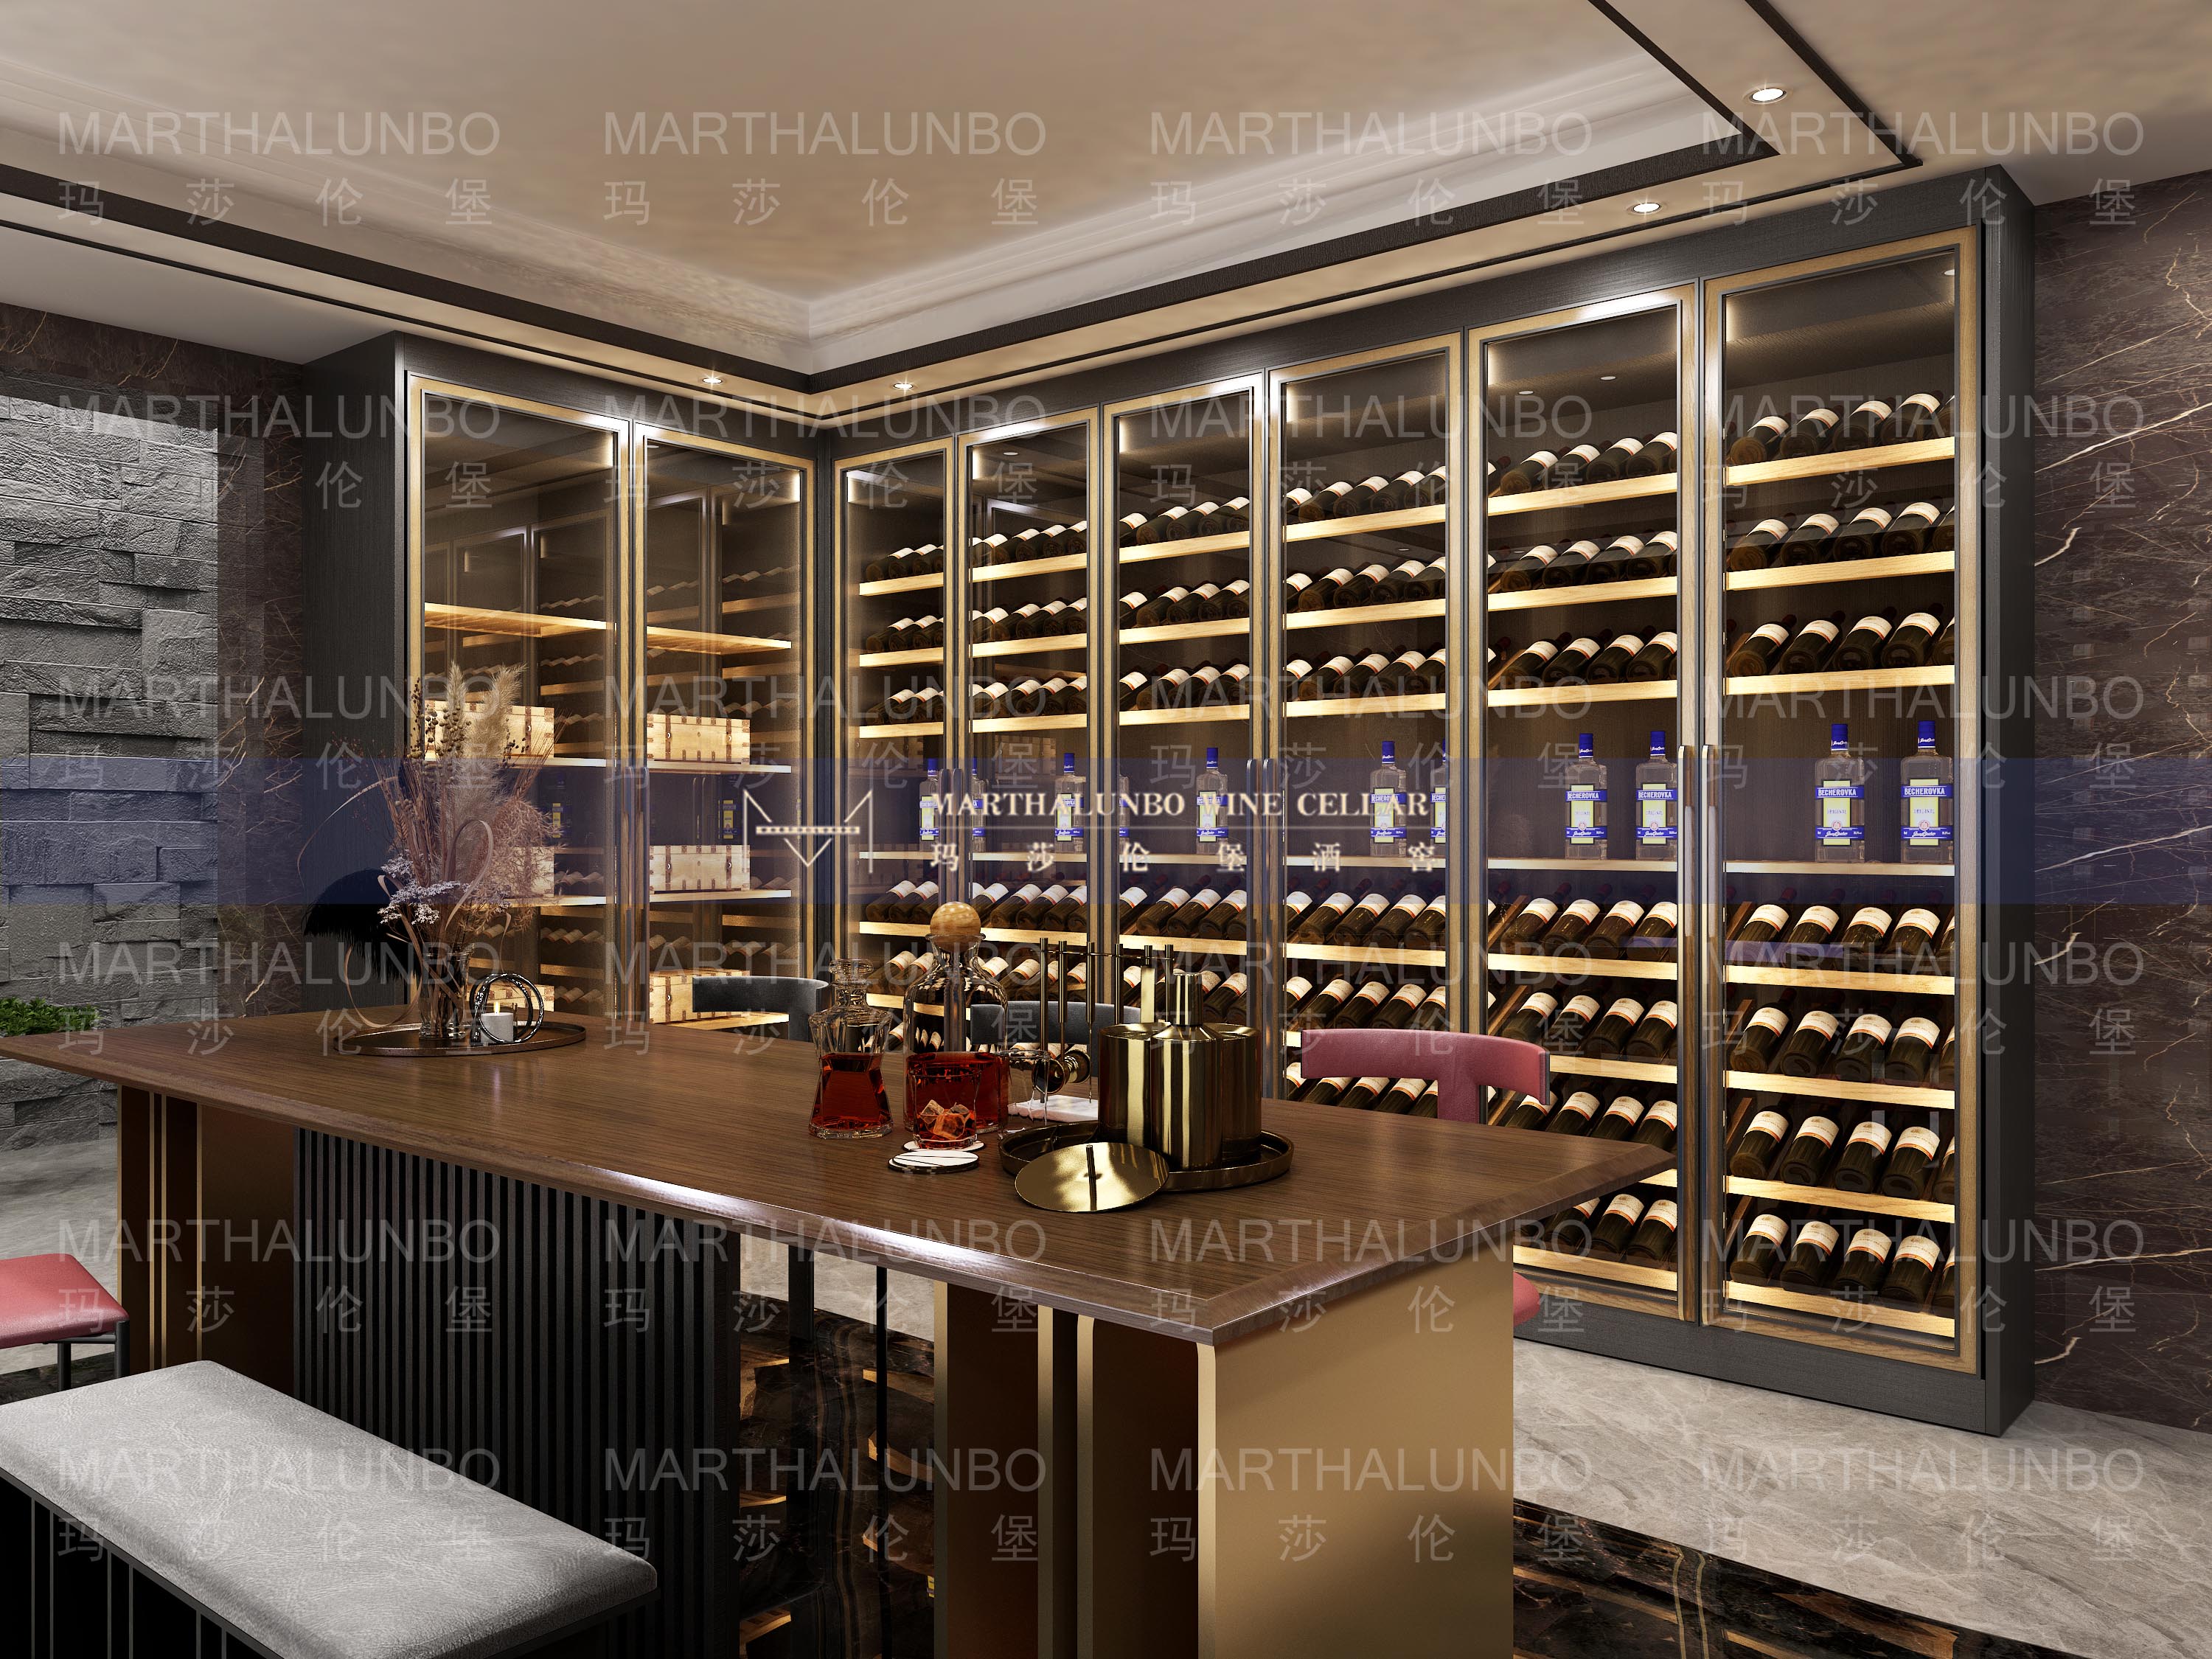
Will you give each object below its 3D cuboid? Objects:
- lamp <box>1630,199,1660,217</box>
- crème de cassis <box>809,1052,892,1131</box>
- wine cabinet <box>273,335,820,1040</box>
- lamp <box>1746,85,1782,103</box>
[{"bbox_3d":[1.434,-1.636,4.493,0.073,0.019,0.066,2,8,10],"label":"lamp"},{"bbox_3d":[-0.441,0.452,2.998,0.150,0.133,0.168,-5,-6,42],"label":"crème de cassis"},{"bbox_3d":[-1.821,-0.436,6.122,1.703,2.415,0.812,-6,12,-36],"label":"wine cabinet"},{"bbox_3d":[1.539,-1.695,3.936,0.082,0.019,0.095,3,8,16],"label":"lamp"}]
